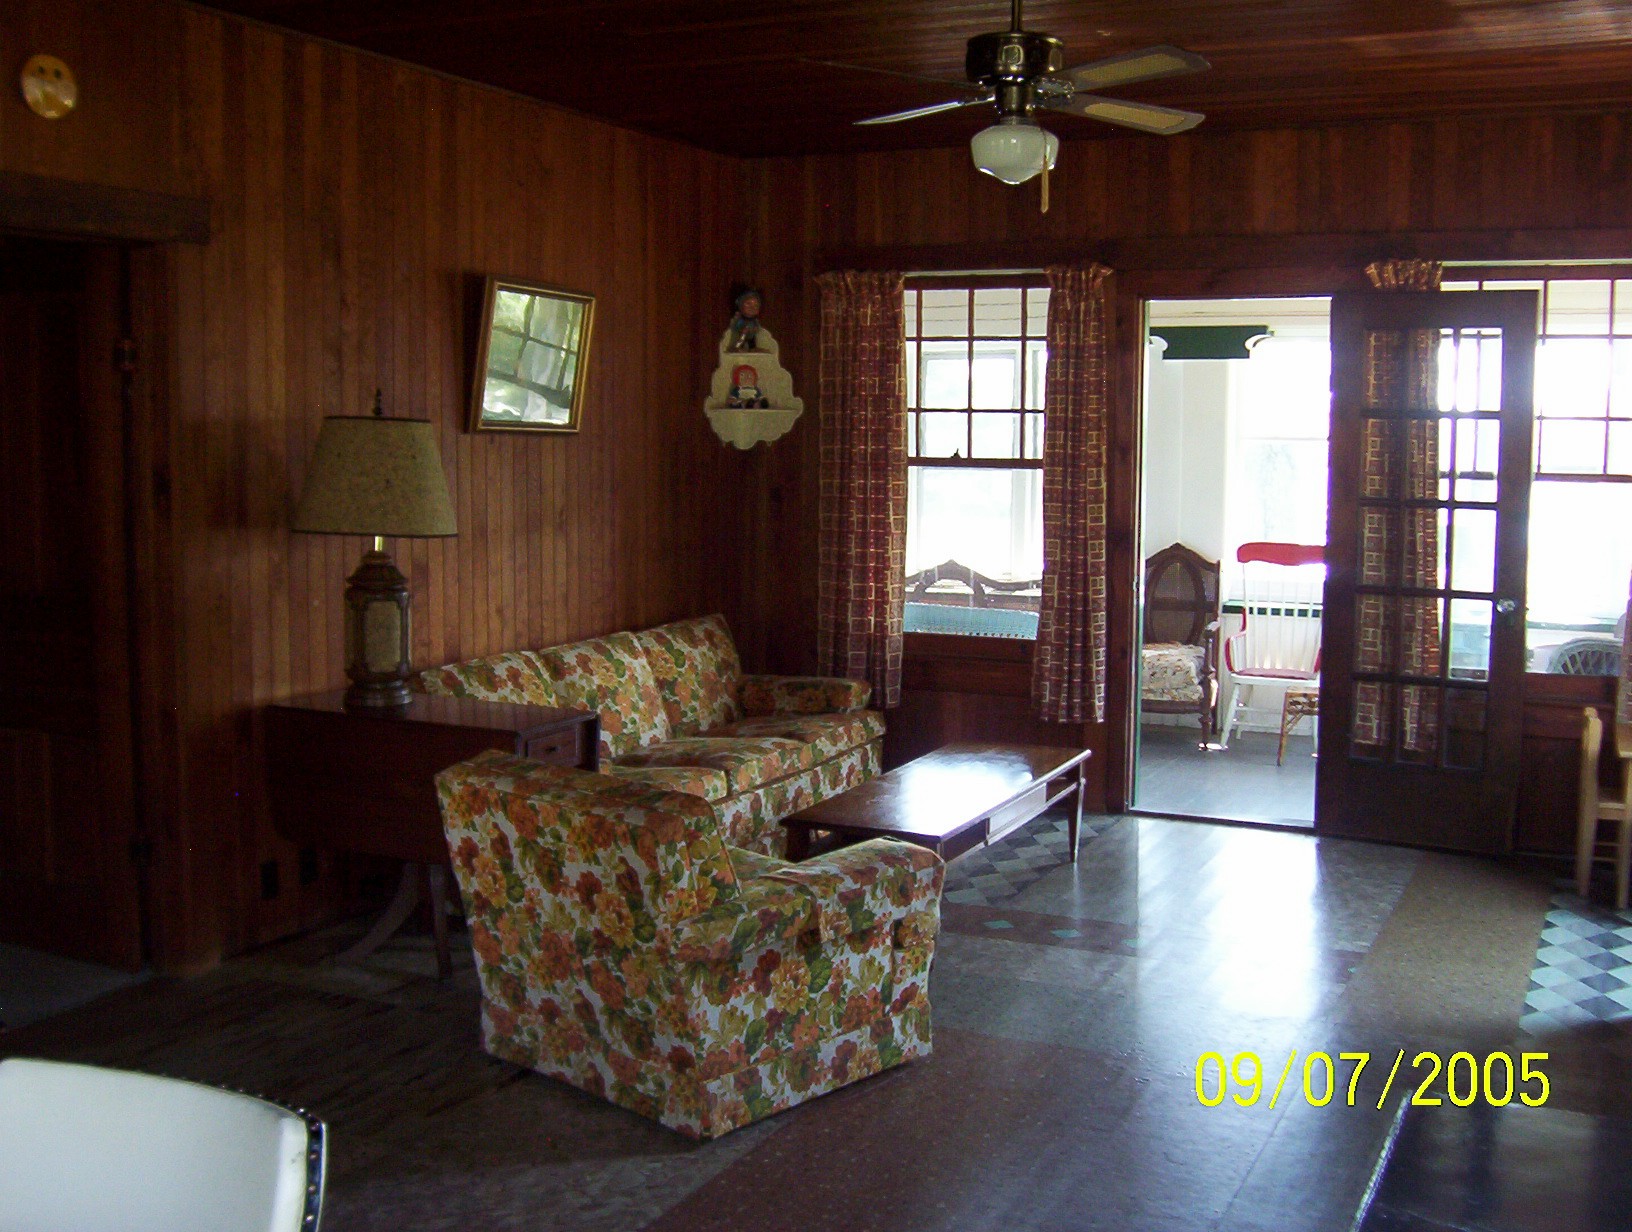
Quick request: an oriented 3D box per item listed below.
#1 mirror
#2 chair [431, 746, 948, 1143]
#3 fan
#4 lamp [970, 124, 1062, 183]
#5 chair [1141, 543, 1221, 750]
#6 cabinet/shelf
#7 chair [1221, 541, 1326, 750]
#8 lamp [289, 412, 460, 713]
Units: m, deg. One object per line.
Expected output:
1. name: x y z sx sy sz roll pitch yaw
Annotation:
1. mirror: -1.241 -1.130 5.804 0.045 0.670 0.804 11 9 19
2. chair: -0.368 0.858 3.901 1.212 0.860 1.223 0 2 -32
3. fan: 0.716 -1.856 4.405 0.861 0.374 0.942 3 5 21
4. lamp: 0.587 -1.312 3.752 0.225 0.150 0.224 -1 9 4
5. chair: 2.333 0.165 8.362 0.496 1.186 0.898 2 8 16
6. cabinet/shelf: -1.468 0.771 5.274 0.791 1.169 1.405 11 11 5
7. chair: 2.941 0.265 8.333 0.689 1.250 0.619 13 17 38
8. lamp: -1.575 -0.238 4.709 0.527 1.087 0.476 -3 8 -20
